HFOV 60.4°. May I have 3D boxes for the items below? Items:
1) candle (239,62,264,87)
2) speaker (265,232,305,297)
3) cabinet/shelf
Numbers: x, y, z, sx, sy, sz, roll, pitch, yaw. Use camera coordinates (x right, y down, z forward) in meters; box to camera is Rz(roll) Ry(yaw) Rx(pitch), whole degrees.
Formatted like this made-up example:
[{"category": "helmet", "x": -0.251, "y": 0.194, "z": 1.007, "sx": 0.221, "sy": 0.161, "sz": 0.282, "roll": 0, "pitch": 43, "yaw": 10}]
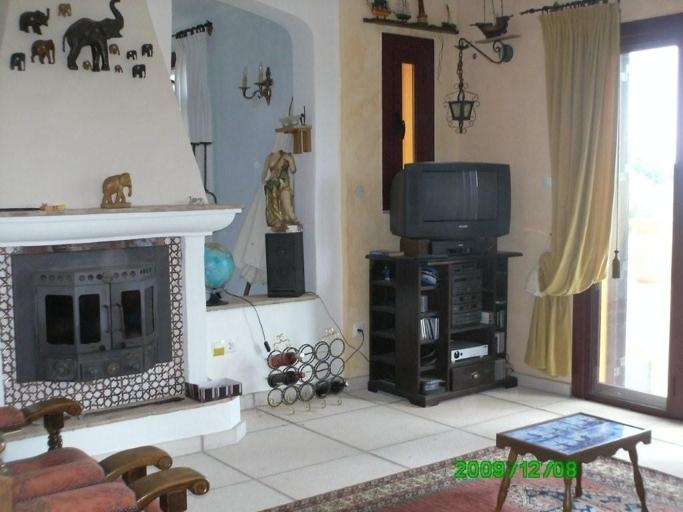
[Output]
[{"category": "candle", "x": -1.010, "y": -2.077, "z": 6.708, "sx": 0.340, "sy": 0.233, "sz": 0.139, "roll": 7, "pitch": 12, "yaw": 35}, {"category": "speaker", "x": -0.476, "y": 0.070, "z": 5.030, "sx": 0.315, "sy": 0.559, "sz": 0.132, "roll": -2, "pitch": 6, "yaw": -12}, {"category": "cabinet/shelf", "x": 0.828, "y": 0.603, "z": 5.122, "sx": 1.449, "sy": 1.249, "sz": 0.584, "roll": -2, "pitch": 5, "yaw": -33}]
